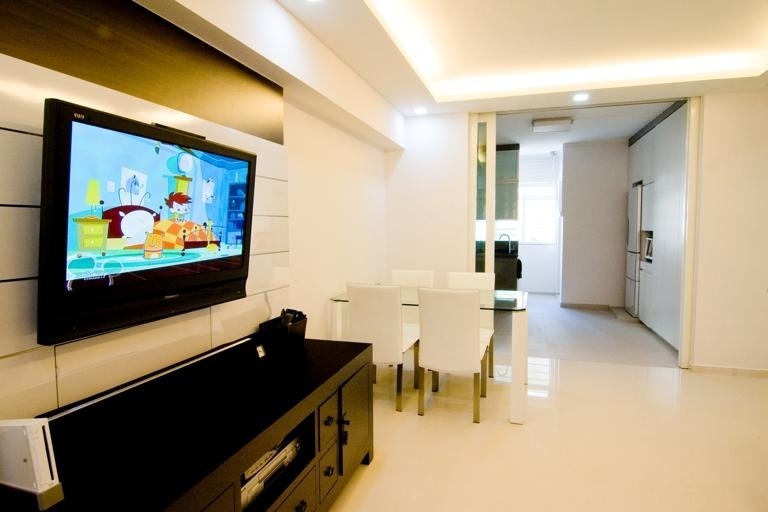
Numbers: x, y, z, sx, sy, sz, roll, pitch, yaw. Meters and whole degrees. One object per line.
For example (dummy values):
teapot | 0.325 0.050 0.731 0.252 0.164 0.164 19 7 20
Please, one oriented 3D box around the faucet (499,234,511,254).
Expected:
faucet | 1.809 -0.180 7.750 0.164 0.305 0.242 5 10 28

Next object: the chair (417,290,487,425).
chair | 0.569 0.846 4.521 0.533 1.154 0.258 0 8 5
